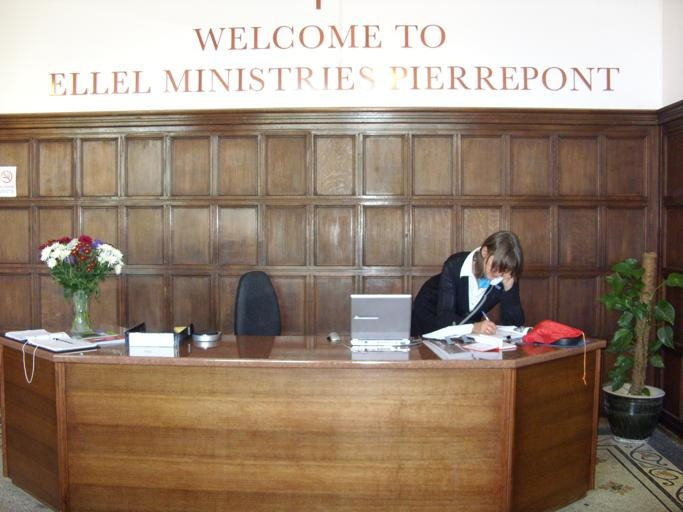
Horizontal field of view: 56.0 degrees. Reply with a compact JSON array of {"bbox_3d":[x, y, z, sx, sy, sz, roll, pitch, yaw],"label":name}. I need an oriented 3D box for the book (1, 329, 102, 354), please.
[{"bbox_3d":[-2.183,0.631,4.808,0.825,0.097,0.384,1,6,42],"label":"book"}]

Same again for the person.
[{"bbox_3d":[1.035,0.236,5.292,0.354,0.654,0.980,12,-34,-23],"label":"person"}]

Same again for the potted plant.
[{"bbox_3d":[2.825,0.807,6.018,0.682,1.680,0.913,-1,5,22],"label":"potted plant"}]

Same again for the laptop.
[{"bbox_3d":[0.299,0.452,4.572,0.477,0.431,0.351,1,5,-1],"label":"laptop"}]

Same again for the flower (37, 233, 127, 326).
[{"bbox_3d":[-2.152,0.192,5.023,0.664,0.748,0.704,4,3,38],"label":"flower"}]

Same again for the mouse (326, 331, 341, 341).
[{"bbox_3d":[-0.048,0.598,4.808,0.063,0.067,0.072,3,-3,-24],"label":"mouse"}]
